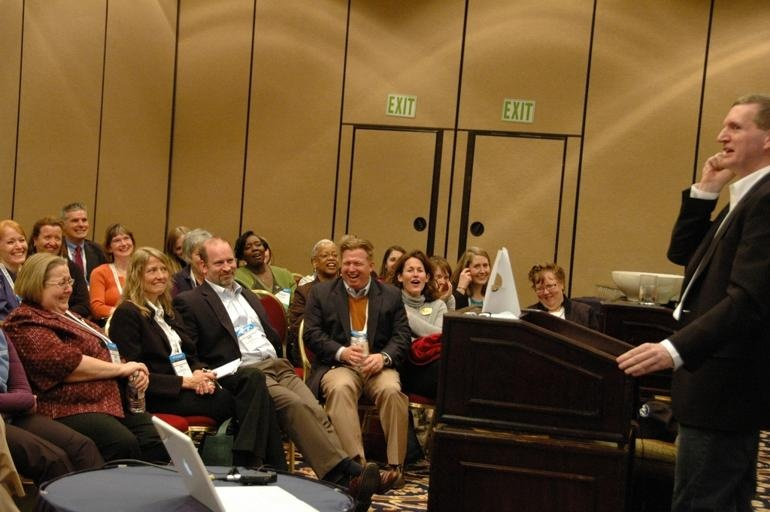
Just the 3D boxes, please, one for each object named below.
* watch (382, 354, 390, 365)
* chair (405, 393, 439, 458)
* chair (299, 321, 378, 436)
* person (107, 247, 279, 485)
[{"bbox_3d":[0.010,0.784,5.127,0.039,0.069,0.056,-11,5,-16],"label":"watch"},{"bbox_3d":[0.286,1.314,5.338,0.236,0.386,0.251,2,0,-16],"label":"chair"},{"bbox_3d":[-0.336,0.816,5.437,0.518,0.909,0.552,1,-7,-22],"label":"chair"},{"bbox_3d":[-1.336,0.756,4.787,0.959,1.719,0.707,-3,17,-1],"label":"person"}]
